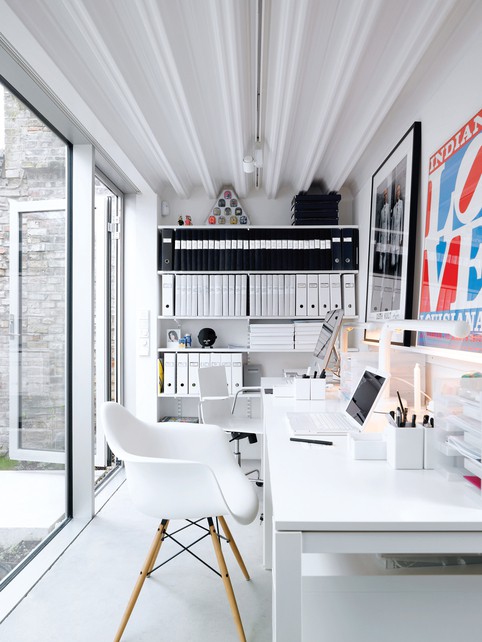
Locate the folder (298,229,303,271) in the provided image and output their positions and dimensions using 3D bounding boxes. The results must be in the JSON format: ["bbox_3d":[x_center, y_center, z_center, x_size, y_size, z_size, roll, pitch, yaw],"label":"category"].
[{"bbox_3d":[0.476,-0.588,3.843,0.046,0.336,0.079,-1,-1,11],"label":"folder"}]

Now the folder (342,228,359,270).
[{"bbox_3d":[0.859,-0.584,3.802,0.142,0.317,0.290,0,3,5],"label":"folder"}]

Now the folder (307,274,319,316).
[{"bbox_3d":[0.566,-0.209,3.819,0.082,0.335,0.029,-1,-1,7],"label":"folder"}]

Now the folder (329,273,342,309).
[{"bbox_3d":[0.745,-0.257,3.811,0.129,0.294,0.270,0,1,3],"label":"folder"}]

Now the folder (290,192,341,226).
[{"bbox_3d":[0.596,-0.906,3.833,0.258,0.210,0.291,0,4,1],"label":"folder"}]

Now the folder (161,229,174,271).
[{"bbox_3d":[-0.600,-0.590,3.864,0.088,0.330,0.303,0,-1,2],"label":"folder"}]

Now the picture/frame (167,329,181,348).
[{"bbox_3d":[-0.571,0.144,4.027,0.123,0.214,0.020,-1,-3,16],"label":"picture/frame"}]

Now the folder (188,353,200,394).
[{"bbox_3d":[-0.388,0.422,3.816,0.091,0.332,0.035,-1,-1,12],"label":"folder"}]

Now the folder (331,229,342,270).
[{"bbox_3d":[0.759,-0.583,3.805,0.082,0.302,0.284,-1,3,2],"label":"folder"}]

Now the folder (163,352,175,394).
[{"bbox_3d":[-0.584,0.424,3.853,0.085,0.313,0.290,0,-1,1],"label":"folder"}]

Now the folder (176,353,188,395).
[{"bbox_3d":[-0.474,0.425,3.831,0.084,0.310,0.286,0,-3,3],"label":"folder"}]

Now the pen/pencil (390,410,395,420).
[{"bbox_3d":[0.461,0.287,1.451,0.014,0.021,0.021,5,-21,1],"label":"pen/pencil"}]

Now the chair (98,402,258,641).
[{"bbox_3d":[-0.205,0.624,1.955,0.619,1.062,0.743,-1,-3,3],"label":"chair"}]

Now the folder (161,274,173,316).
[{"bbox_3d":[-0.605,-0.224,3.894,0.096,0.340,0.303,0,0,3],"label":"folder"}]

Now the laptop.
[{"bbox_3d":[0.399,0.307,1.768,0.181,0.158,0.230,-1,-5,1],"label":"laptop"}]

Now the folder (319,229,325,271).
[{"bbox_3d":[0.645,-0.584,3.841,0.076,0.337,0.057,-1,-1,9],"label":"folder"}]

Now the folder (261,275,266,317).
[{"bbox_3d":[0.178,-0.209,3.814,0.043,0.219,0.205,3,2,3],"label":"folder"}]
